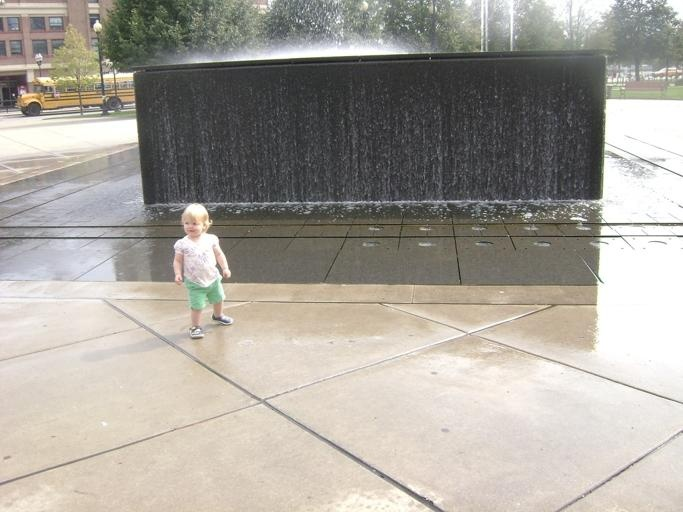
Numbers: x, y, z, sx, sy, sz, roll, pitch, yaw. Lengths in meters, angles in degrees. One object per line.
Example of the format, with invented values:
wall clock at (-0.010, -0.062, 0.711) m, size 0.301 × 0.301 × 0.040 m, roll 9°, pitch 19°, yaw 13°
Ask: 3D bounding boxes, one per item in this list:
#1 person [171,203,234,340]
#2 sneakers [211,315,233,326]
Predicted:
person at (-1.231, 0.117, 4.633) m, size 0.455 × 1.134 × 0.586 m, roll -5°, pitch 15°, yaw -13°
sneakers at (-1.103, 0.589, 4.847) m, size 0.194 × 0.067 × 0.077 m, roll 4°, pitch 31°, yaw -4°
